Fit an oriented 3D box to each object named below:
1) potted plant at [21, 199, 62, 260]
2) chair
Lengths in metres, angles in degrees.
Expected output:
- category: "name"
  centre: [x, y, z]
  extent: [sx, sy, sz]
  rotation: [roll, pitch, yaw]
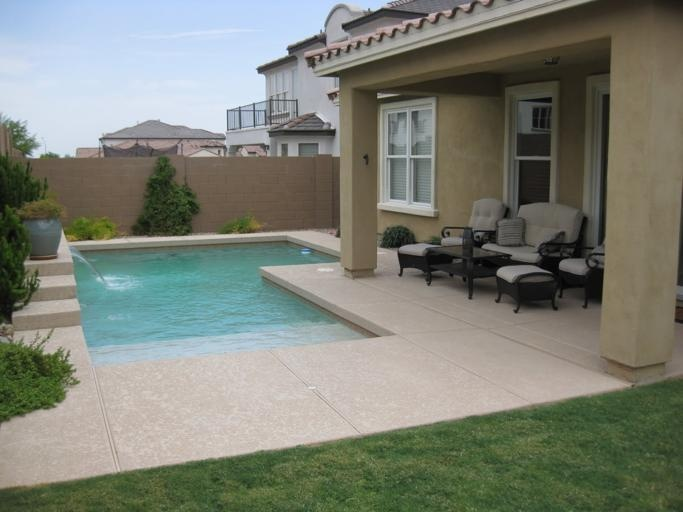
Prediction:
- category: "potted plant"
  centre: [-5.063, -0.436, 9.081]
  extent: [0.767, 0.948, 0.811]
  rotation: [-4, 1, -6]
- category: "chair"
  centre: [3.058, -0.166, 9.420]
  extent: [2.657, 1.448, 3.640]
  rotation: [-5, 11, -27]
